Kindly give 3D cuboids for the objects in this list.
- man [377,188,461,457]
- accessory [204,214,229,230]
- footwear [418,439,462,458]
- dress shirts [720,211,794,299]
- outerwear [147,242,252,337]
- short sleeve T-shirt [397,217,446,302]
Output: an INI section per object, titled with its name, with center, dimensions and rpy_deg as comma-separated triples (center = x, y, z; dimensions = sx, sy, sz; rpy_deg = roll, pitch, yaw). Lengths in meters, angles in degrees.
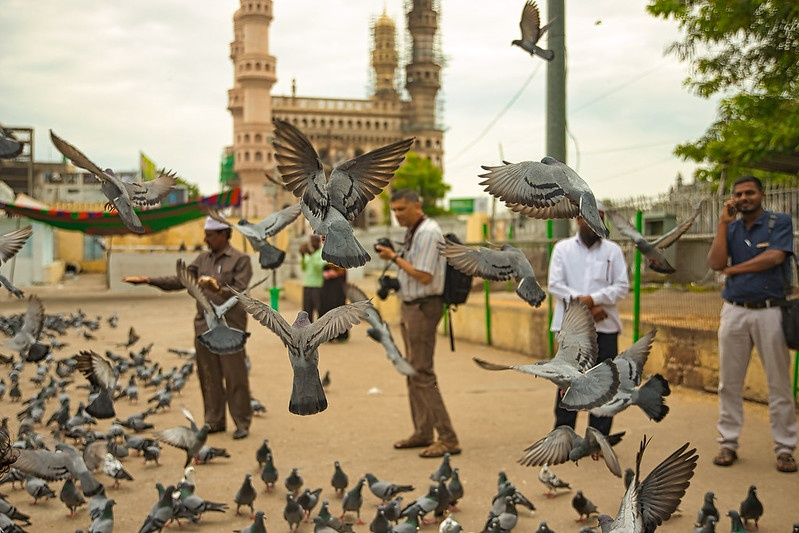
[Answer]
[man]
center = 0.284, 0.844, 26.103
dimensions = 1.611, 4.255, 1.346
rpy_deg = 2, 1, 12
[accessory]
center = -3.024, -0.760, 26.183
dimensions = 0.322, 0.178, 0.227
rpy_deg = 1, 7, -5
[footwear]
center = 0.644, 2.896, 25.681
dimensions = 0.691, 0.274, 0.256
rpy_deg = 1, -4, -6
[dress shirts]
center = 5.632, -0.212, 25.143
dimensions = 1.186, 1.416, 0.818
rpy_deg = -8, -10, 43
[outerwear]
center = -3.165, 0.113, 26.602
dimensions = 1.799, 1.006, 1.428
rpy_deg = -13, 3, -10
[short sleeve T-shirt]
center = 0.348, -0.113, 25.558
dimensions = 0.690, 1.317, 1.320
rpy_deg = 3, -1, -5
